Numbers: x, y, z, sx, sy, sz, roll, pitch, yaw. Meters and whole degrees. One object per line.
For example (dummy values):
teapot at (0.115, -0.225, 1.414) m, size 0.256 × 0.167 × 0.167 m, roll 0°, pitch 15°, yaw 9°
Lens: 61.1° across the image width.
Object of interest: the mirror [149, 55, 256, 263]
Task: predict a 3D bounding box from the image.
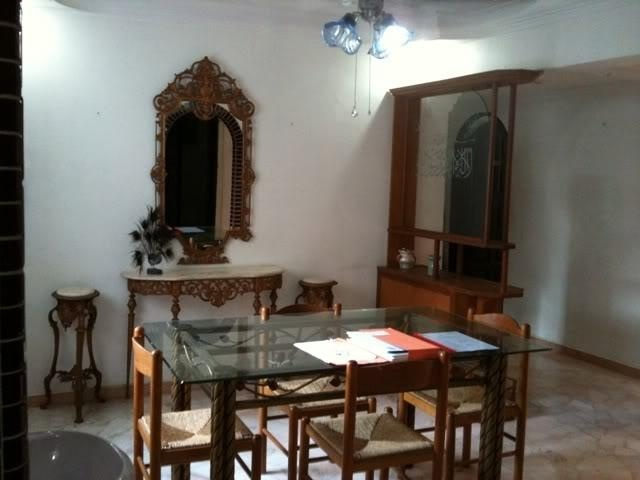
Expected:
mirror at (-0.944, -0.637, 4.451) m, size 0.835 × 1.660 × 0.147 m, roll 0°, pitch 9°, yaw -19°

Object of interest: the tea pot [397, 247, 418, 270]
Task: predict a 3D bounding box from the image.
tea pot at (0.814, 0.162, 5.031) m, size 0.165 × 0.172 × 0.160 m, roll 5°, pitch -4°, yaw 0°

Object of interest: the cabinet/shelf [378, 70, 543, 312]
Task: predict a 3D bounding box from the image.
cabinet/shelf at (1.092, -0.314, 4.645) m, size 0.440 × 2.092 × 1.482 m, roll -3°, pitch 10°, yaw -31°

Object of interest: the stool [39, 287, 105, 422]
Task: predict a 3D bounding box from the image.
stool at (-1.787, 0.817, 4.033) m, size 0.533 × 0.911 × 0.434 m, roll 10°, pitch 11°, yaw 41°

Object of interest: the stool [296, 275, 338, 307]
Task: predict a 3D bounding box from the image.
stool at (-0.025, 0.476, 4.851) m, size 0.374 × 0.276 × 0.321 m, roll 1°, pitch 8°, yaw -11°
